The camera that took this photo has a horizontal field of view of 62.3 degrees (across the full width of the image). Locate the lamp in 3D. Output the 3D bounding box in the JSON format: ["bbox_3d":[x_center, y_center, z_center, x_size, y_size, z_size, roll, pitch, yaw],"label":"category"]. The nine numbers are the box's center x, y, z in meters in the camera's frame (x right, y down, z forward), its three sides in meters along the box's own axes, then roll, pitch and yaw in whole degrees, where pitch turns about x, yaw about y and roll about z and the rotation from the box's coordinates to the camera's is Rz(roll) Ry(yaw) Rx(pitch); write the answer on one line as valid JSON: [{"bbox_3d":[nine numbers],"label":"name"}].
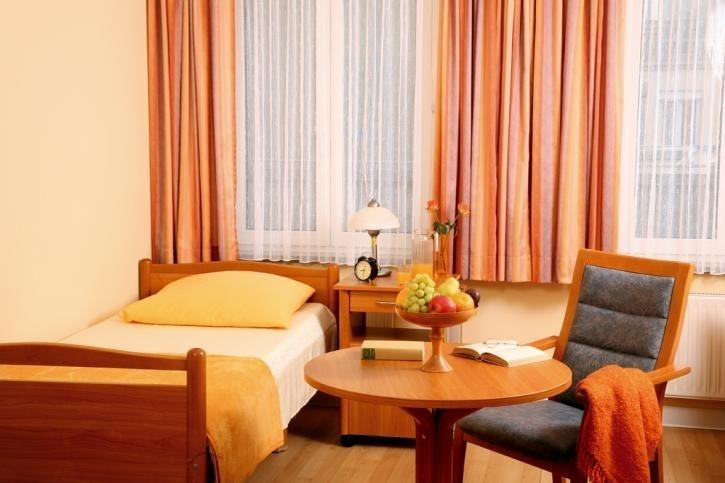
[{"bbox_3d":[0.081,-0.013,4.317,0.335,0.567,0.352,-1,11,10],"label":"lamp"}]

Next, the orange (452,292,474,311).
[{"bbox_3d":[0.464,0.279,2.790,0.074,0.083,0.076,-12,6,-7],"label":"orange"}]

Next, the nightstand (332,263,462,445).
[{"bbox_3d":[0.237,0.799,4.311,0.709,1.081,0.635,1,8,15],"label":"nightstand"}]

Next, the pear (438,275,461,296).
[{"bbox_3d":[0.407,0.211,2.899,0.101,0.068,0.181,-1,8,6],"label":"pear"}]

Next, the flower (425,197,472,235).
[{"bbox_3d":[0.604,-0.136,4.320,0.300,0.331,0.260,3,-11,10],"label":"flower"}]

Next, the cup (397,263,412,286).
[{"bbox_3d":[0.279,0.217,4.091,0.111,0.131,0.105,0,2,0],"label":"cup"}]

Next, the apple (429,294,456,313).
[{"bbox_3d":[0.360,0.288,2.762,0.098,0.087,0.086,-12,24,-2],"label":"apple"}]

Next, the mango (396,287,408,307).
[{"bbox_3d":[0.196,0.261,2.873,0.043,0.094,0.052,20,-13,-12],"label":"mango"}]
